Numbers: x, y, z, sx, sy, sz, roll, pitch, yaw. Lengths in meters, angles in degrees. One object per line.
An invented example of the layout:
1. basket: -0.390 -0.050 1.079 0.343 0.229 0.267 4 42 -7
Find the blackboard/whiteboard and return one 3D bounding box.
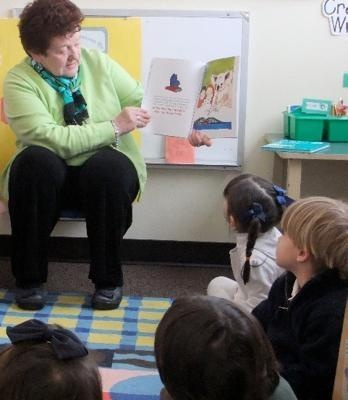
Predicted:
1. blackboard/whiteboard: -0.207 -0.534 1.546 1.067 0.730 0.225 3 10 4

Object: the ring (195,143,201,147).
1. ring: 0.103 -0.239 1.520 0.021 0.011 0.030 0 5 1

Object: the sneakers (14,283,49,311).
1. sneakers: -0.559 0.372 1.346 0.060 0.071 0.153 0 7 -13

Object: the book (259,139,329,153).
1. book: 0.531 -0.233 1.513 0.249 0.080 0.378 6 6 23
